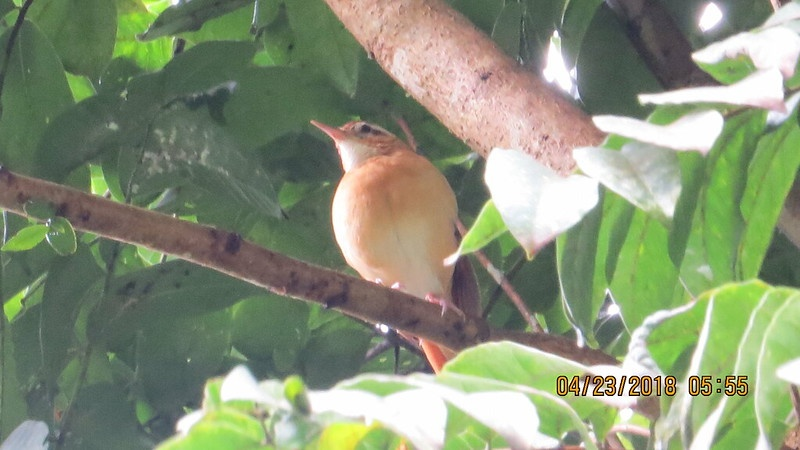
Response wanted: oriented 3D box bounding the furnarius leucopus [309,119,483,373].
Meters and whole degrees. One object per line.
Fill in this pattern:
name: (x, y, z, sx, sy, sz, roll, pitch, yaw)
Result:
furnarius leucopus: (-0.010, 0.061, 2.810, 0.245, 0.539, 0.363, -38, 17, 3)
